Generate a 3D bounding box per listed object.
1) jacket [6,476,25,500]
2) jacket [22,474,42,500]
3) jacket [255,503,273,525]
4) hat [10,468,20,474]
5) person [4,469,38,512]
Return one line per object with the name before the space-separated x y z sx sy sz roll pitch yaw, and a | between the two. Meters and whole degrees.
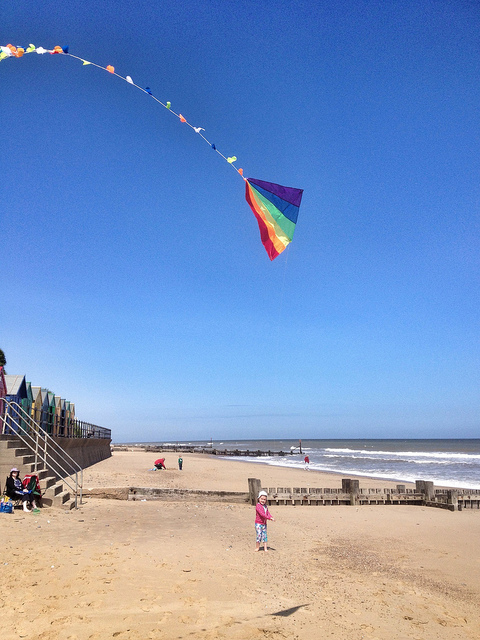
jacket | -5.737 4.222 11.780 0.384 0.623 0.392 -6 -9 16
jacket | -5.348 4.292 12.021 0.386 0.701 0.186 -15 -12 38
jacket | 0.513 4.314 10.482 0.316 0.442 0.286 -7 -15 20
hat | -5.836 3.891 12.132 0.192 0.082 0.211 5 -14 -24
person | -5.449 4.278 11.882 0.810 0.939 0.600 -2 -10 23
